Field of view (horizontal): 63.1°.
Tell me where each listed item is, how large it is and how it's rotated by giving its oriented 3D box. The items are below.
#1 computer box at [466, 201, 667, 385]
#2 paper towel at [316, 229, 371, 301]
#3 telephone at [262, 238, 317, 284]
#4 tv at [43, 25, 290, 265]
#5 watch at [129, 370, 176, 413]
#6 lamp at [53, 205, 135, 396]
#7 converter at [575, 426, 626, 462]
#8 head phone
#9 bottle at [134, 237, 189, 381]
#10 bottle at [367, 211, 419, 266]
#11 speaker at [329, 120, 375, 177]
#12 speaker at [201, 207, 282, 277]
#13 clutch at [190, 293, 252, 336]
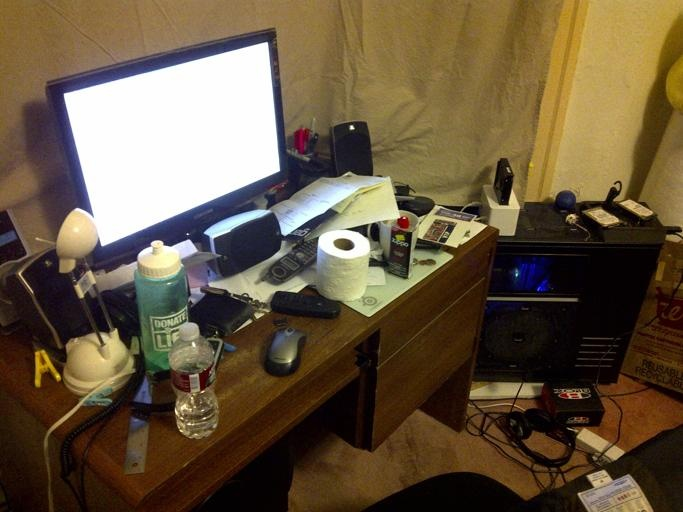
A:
[{"bbox_3d":[0.816,0.109,2.150,0.602,0.636,0.383,1,29,1],"label":"computer box"},{"bbox_3d":[-0.001,0.024,1.378,0.120,0.128,0.124,27,39,27],"label":"paper towel"},{"bbox_3d":[-0.128,-0.003,1.476,0.157,0.082,0.220,13,15,24],"label":"telephone"},{"bbox_3d":[-0.397,-0.292,1.423,0.054,0.440,0.629,23,38,31],"label":"tv"},{"bbox_3d":[-0.383,0.283,1.140,0.066,0.020,0.086,0,33,-6],"label":"watch"},{"bbox_3d":[-0.536,0.094,1.162,0.151,0.365,0.167,-3,19,-8],"label":"lamp"},{"bbox_3d":[0.917,0.684,2.006,0.169,0.046,0.093,25,40,36],"label":"converter"},{"bbox_3d":[0.721,0.650,1.994,0.220,0.088,0.241,-6,31,-31],"label":"head phone"},{"bbox_3d":[-0.388,0.112,1.200,0.105,0.263,0.099,4,29,-2],"label":"bottle"},{"bbox_3d":[0.132,-0.030,1.503,0.122,0.144,0.125,15,30,23],"label":"bottle"},{"bbox_3d":[0.031,-0.327,1.735,0.134,0.164,0.129,-6,32,-8],"label":"speaker"},{"bbox_3d":[-0.262,-0.041,1.478,0.192,0.135,0.103,-29,35,-32],"label":"speaker"},{"bbox_3d":[-0.290,0.134,1.293,0.109,0.035,0.085,22,43,21],"label":"clutch"}]
